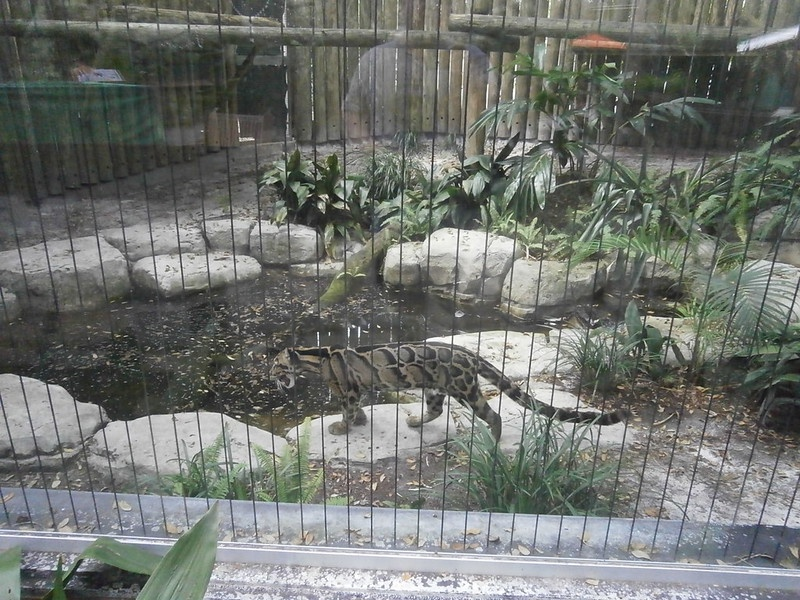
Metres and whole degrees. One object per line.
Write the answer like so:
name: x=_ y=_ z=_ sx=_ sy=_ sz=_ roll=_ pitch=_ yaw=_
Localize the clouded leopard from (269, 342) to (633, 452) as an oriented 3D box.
clouded leopard: x=0.154 y=0.480 z=3.285 sx=1.800 sy=0.469 sz=0.256 roll=0 pitch=11 yaw=20
